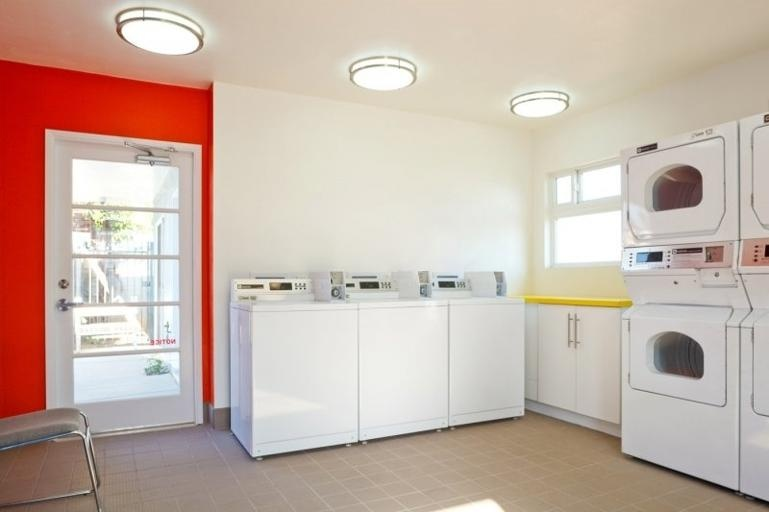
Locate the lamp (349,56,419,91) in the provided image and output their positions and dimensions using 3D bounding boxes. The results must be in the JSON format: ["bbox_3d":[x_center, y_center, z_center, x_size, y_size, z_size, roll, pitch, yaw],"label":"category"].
[{"bbox_3d":[-0.016,-1.754,4.917,0.665,0.250,0.352,0,7,2],"label":"lamp"}]
